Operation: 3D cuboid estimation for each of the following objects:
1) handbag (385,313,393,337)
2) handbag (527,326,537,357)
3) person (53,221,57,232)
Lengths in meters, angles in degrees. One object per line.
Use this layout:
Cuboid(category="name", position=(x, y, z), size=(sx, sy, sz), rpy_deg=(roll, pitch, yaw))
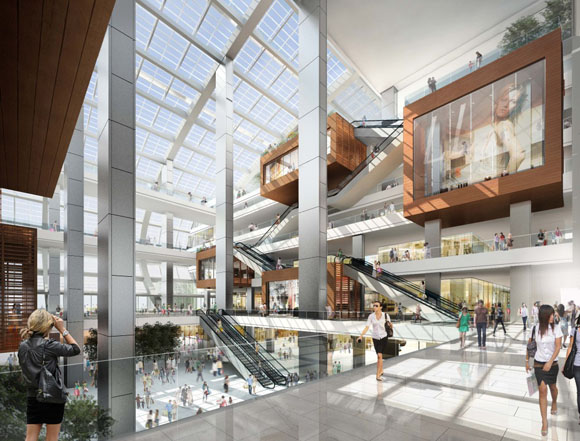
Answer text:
Cuboid(category="handbag", position=(2.437, 2.617, 10.131), size=(0.150, 0.576, 0.577), rpy_deg=(-6, -11, 16))
Cuboid(category="handbag", position=(4.724, 2.380, 7.992), size=(0.181, 0.541, 0.322), rpy_deg=(-3, -1, 14))
Cuboid(category="person", position=(-14.684, 0.304, 25.353), size=(0.325, 0.764, 0.576), rpy_deg=(3, -13, -30))
